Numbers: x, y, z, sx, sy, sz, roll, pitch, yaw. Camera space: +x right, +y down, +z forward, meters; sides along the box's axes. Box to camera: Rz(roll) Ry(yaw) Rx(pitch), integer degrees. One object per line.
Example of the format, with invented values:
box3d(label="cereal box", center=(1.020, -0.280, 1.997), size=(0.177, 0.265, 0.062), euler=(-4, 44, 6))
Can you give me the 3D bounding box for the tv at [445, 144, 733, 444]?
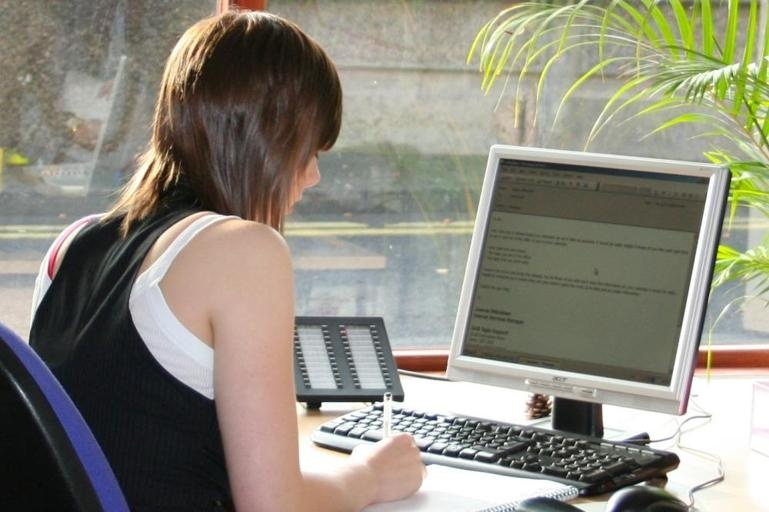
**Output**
box3d(label="tv", center=(0.436, 0.093, 1.850), size=(0.572, 0.617, 0.242), euler=(17, -22, 23))
